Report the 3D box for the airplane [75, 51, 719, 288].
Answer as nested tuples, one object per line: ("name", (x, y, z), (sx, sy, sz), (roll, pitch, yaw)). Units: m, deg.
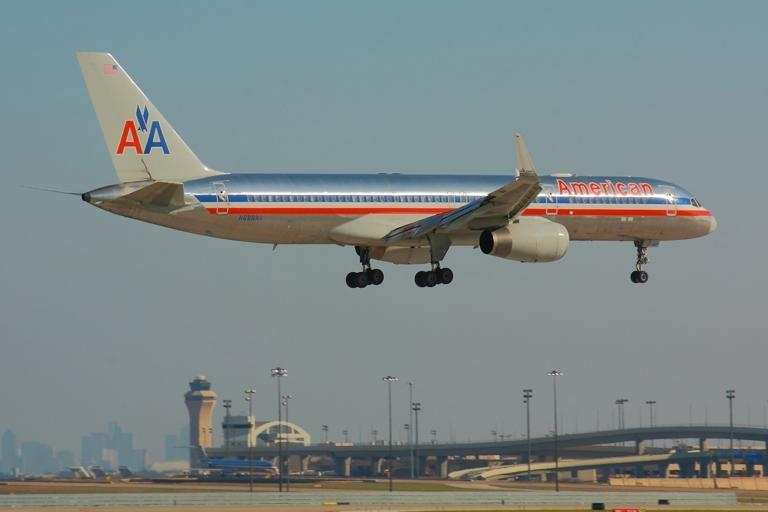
("airplane", (2.186, -5.727, 135.794), (52.930, 15.186, 47.311), (-1, 12, -27))
